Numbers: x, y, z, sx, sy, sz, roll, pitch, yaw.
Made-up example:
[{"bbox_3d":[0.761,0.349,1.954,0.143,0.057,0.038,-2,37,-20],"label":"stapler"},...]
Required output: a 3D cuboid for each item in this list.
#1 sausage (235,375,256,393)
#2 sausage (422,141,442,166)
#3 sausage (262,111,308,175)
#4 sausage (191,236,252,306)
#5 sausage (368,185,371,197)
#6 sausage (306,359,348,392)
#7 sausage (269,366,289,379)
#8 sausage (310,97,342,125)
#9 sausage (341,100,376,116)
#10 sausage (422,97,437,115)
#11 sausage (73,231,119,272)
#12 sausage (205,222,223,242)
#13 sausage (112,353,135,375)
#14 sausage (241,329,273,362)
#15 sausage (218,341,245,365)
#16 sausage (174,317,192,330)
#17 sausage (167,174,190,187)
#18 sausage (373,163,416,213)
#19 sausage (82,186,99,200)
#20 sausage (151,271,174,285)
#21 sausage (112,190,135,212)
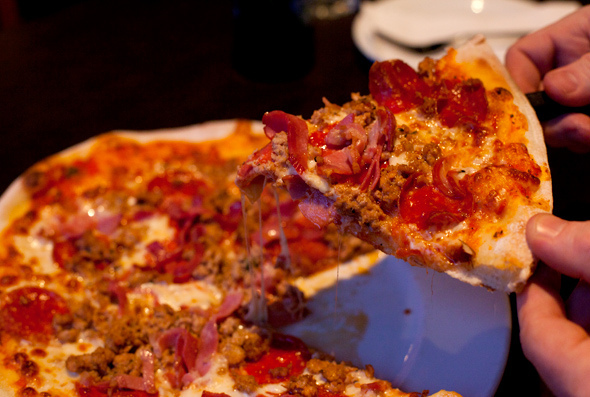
[{"bbox_3d":[-0.182,0.674,2.393,0.051,0.018,0.057,1,33,-1],"label":"sausage"},{"bbox_3d":[0.483,-0.163,2.317,0.058,0.019,0.079,6,70,-5],"label":"sausage"},{"bbox_3d":[-0.009,-0.206,2.283,0.057,0.170,0.213,-11,41,-42],"label":"sausage"},{"bbox_3d":[-0.301,0.295,2.763,0.192,0.030,0.249,-1,46,-5],"label":"sausage"},{"bbox_3d":[0.255,-0.024,2.254,0.006,0.009,0.031,2,89,-7],"label":"sausage"},{"bbox_3d":[0.116,0.659,2.435,0.104,0.037,0.107,9,39,10],"label":"sausage"},{"bbox_3d":[-0.059,0.652,2.450,0.048,0.014,0.040,4,42,7],"label":"sausage"},{"bbox_3d":[0.109,-0.325,2.415,0.100,0.038,0.106,0,64,6],"label":"sausage"},{"bbox_3d":[0.238,-0.334,2.418,0.122,0.039,0.066,-14,69,-9],"label":"sausage"},{"bbox_3d":[0.489,-0.337,2.385,0.050,0.013,0.054,15,87,7],"label":"sausage"},{"bbox_3d":[-0.871,0.216,2.800,0.155,0.048,0.158,29,68,-3],"label":"sausage"},{"bbox_3d":[-0.352,0.146,2.852,0.069,0.015,0.070,41,55,8],"label":"sausage"},{"bbox_3d":[-0.653,0.622,2.458,0.066,0.019,0.068,39,72,8],"label":"sausage"},{"bbox_3d":[-0.152,0.575,2.532,0.117,0.037,0.083,-40,93,-30],"label":"sausage"},{"bbox_3d":[-0.245,0.591,2.507,0.097,0.041,0.066,34,73,29],"label":"sausage"},{"bbox_3d":[-0.450,0.497,2.588,0.046,0.013,0.037,-27,57,-15],"label":"sausage"},{"bbox_3d":[-0.539,-0.089,3.001,0.064,0.018,0.064,-20,54,-25],"label":"sausage"},{"bbox_3d":[0.331,-0.048,2.271,0.105,0.051,0.172,29,69,8],"label":"sausage"},{"bbox_3d":[-0.922,-0.023,2.947,0.051,0.012,0.050,8,64,-12],"label":"sausage"},{"bbox_3d":[-0.550,0.333,2.742,0.059,0.011,0.065,-26,53,-23],"label":"sausage"},{"bbox_3d":[-0.779,0.009,2.946,0.088,0.022,0.087,-25,76,-12],"label":"sausage"}]
